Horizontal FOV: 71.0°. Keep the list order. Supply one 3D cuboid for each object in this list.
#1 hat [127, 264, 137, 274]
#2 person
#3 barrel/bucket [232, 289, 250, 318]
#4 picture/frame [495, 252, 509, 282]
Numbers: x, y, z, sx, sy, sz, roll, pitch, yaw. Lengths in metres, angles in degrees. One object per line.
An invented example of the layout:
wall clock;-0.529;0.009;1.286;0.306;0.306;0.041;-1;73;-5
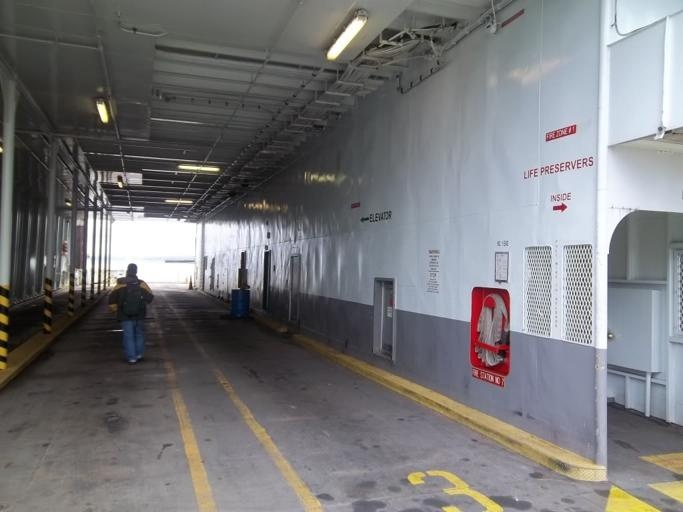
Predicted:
hat;-4.685;0.280;10.794;0.222;0.299;0.224;-3;-7;-19
person;-4.689;1.257;10.662;0.856;2.193;0.617;-1;3;-31
barrel/bucket;-4.037;1.875;19.224;0.958;1.143;0.946;0;-3;0
picture/frame;2.440;0.154;7.287;0.066;0.468;0.315;0;3;-17
